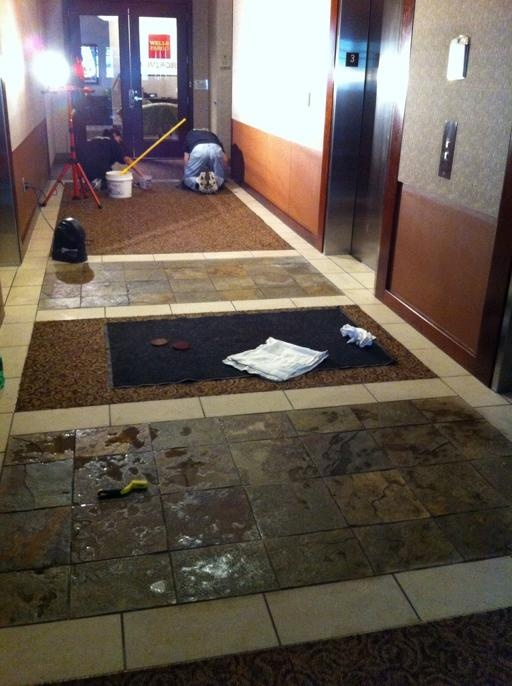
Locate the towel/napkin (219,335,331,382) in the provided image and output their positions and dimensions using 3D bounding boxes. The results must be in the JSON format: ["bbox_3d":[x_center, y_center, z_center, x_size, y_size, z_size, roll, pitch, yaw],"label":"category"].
[{"bbox_3d":[0.109,0.091,2.851,0.488,0.044,0.438,15,29,26],"label":"towel/napkin"}]

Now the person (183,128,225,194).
[{"bbox_3d":[-0.813,-2.913,7.882,0.526,0.529,1.269,-4,36,-5],"label":"person"}]

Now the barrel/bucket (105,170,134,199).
[{"bbox_3d":[-1.913,-2.227,7.005,0.325,0.353,0.309,1,26,0],"label":"barrel/bucket"}]

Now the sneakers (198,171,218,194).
[{"bbox_3d":[-0.745,-2.437,7.647,0.260,0.360,0.139,0,-4,-9],"label":"sneakers"}]
